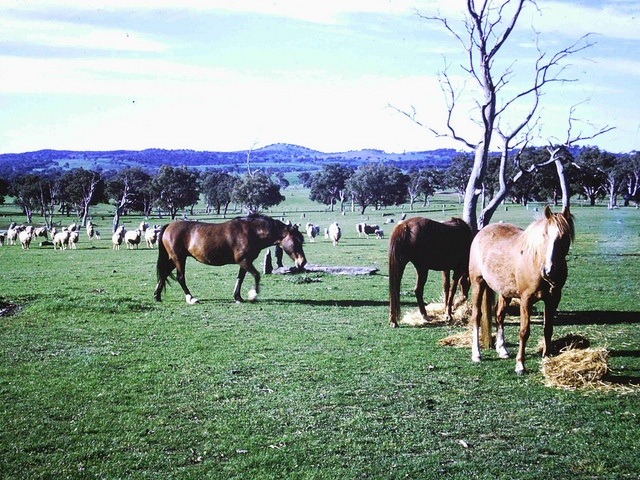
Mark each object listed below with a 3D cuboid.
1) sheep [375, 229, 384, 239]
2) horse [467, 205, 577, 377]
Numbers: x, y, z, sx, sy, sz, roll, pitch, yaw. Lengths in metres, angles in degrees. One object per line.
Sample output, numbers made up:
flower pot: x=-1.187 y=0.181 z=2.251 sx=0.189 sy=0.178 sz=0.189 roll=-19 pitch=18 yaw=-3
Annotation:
sheep: x=5.723 y=-0.563 z=59.603 sx=0.679 sy=0.952 sz=0.938 roll=0 pitch=-5 yaw=-3
horse: x=4.939 y=1.039 z=15.866 sx=1.355 sy=4.101 sz=2.446 roll=-10 pitch=17 yaw=-34
